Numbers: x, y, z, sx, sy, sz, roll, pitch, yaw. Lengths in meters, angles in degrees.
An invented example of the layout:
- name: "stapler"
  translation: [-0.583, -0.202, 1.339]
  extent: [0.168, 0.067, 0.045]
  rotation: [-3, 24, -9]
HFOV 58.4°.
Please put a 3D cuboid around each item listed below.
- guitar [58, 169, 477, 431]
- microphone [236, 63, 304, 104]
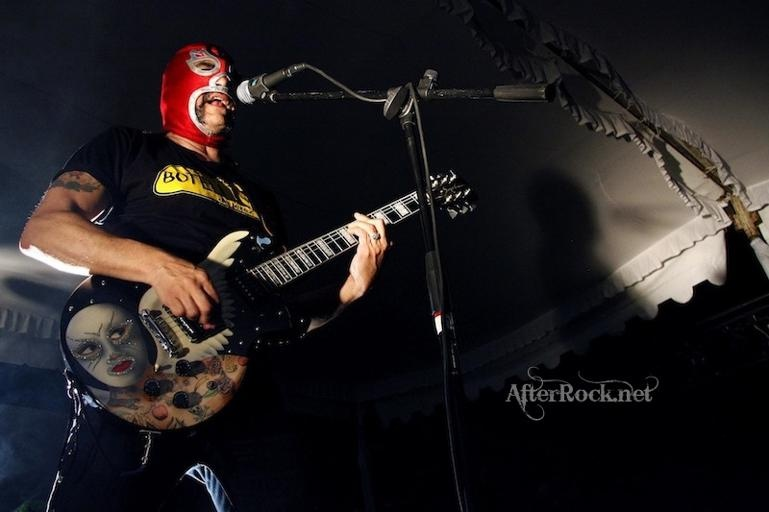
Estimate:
- name: "guitar"
  translation: [-0.490, 0.148, 3.069]
  extent: [1.834, 0.695, 0.211]
  rotation: [-30, 1, -28]
- name: "microphone"
  translation: [-0.425, -0.661, 2.619]
  extent: [0.249, 0.161, 0.088]
  rotation: [21, 3, 35]
